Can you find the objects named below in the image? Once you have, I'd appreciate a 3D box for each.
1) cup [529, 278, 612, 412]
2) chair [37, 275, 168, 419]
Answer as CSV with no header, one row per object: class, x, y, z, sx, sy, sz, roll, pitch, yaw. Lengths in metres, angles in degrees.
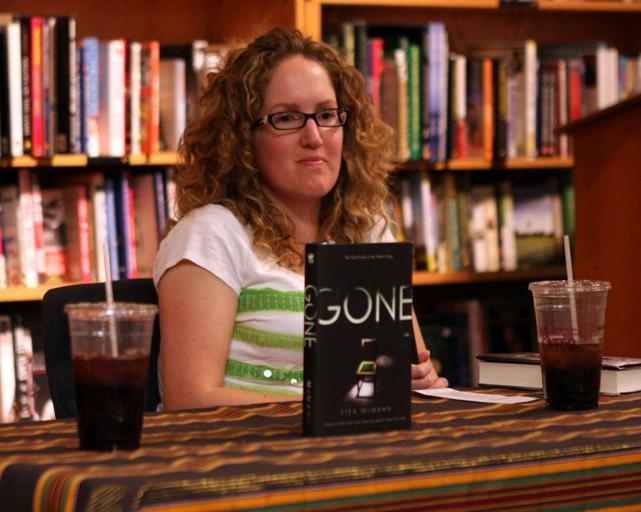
cup,0.408,0.142,1.241,0.149,0.192,0.148,0,-8,0
chair,-0.445,0.186,1.616,0.189,0.297,0.239,-8,14,-28
